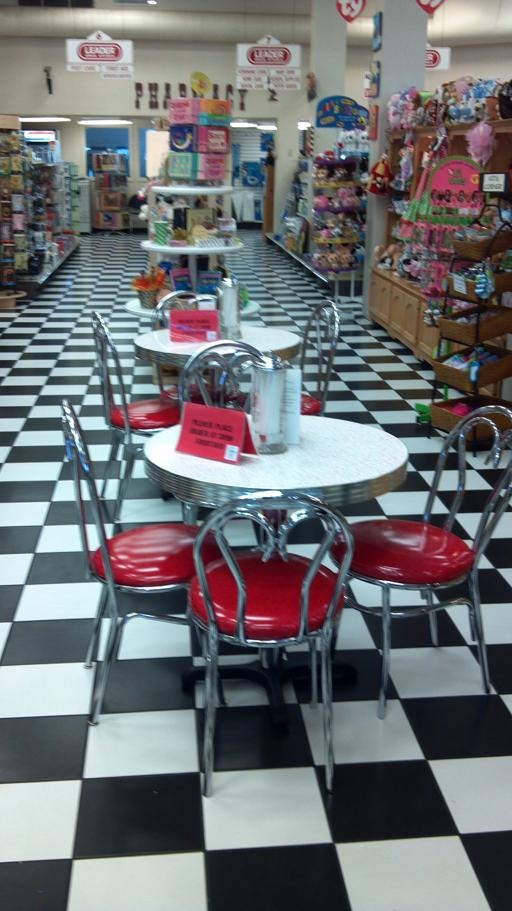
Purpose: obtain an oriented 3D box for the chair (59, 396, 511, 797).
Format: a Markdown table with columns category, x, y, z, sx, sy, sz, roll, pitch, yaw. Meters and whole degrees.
| category | x | y | z | sx | sy | sz | roll | pitch | yaw |
| --- | --- | --- | --- | --- | --- | --- | --- | --- | --- |
| chair | 0.068 | 0.198 | 1.775 | 0.928 | 0.728 | 1.045 | -1 | 20 | -11 |
